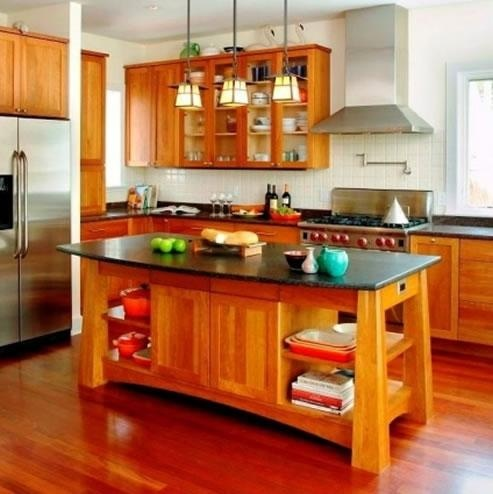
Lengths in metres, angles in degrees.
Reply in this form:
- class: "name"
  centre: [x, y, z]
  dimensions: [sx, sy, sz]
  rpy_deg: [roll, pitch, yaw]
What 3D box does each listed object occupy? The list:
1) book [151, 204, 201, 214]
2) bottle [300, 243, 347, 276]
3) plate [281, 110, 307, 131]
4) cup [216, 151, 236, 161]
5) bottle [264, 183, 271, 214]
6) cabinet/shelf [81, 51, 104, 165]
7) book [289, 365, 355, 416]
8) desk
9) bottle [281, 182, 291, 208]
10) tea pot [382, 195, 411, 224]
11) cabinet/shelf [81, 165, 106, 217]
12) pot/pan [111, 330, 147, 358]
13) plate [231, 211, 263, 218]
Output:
- class: "book"
  centre: [-0.790, -0.437, 5.711]
  dimensions: [0.568, 0.117, 0.692]
  rpy_deg: [1, 4, 10]
- class: "bottle"
  centre: [0.393, 0.079, 2.345]
  dimensions: [0.133, 0.111, 0.213]
  rpy_deg: [-3, 0, -39]
- class: "plate"
  centre: [0.488, -1.226, 4.706]
  dimensions: [0.224, 0.109, 0.205]
  rpy_deg: [-1, 6, -3]
- class: "cup"
  centre: [-0.218, -0.977, 5.205]
  dimensions: [0.161, 0.051, 0.107]
  rpy_deg: [3, 6, 21]
- class: "bottle"
  centre: [0.232, -0.514, 5.252]
  dimensions: [0.073, 0.334, 0.166]
  rpy_deg: [0, 4, 2]
- class: "cabinet/shelf"
  centre: [-1.583, -1.440, 5.020]
  dimensions: [0.132, 1.134, 0.300]
  rpy_deg: [2, 5, 27]
- class: "book"
  centre: [0.387, 0.720, 2.414]
  dimensions: [0.212, 0.093, 0.210]
  rpy_deg: [2, 4, 40]
- class: "desk"
  centre: [-0.086, 0.460, 2.945]
  dimensions: [2.166, 0.982, 1.114]
  rpy_deg: [3, 5, 35]
- class: "bottle"
  centre: [0.422, -0.541, 5.148]
  dimensions: [0.119, 0.257, 0.245]
  rpy_deg: [1, 4, 9]
- class: "tea pot"
  centre: [1.288, -0.313, 4.204]
  dimensions: [0.260, 0.246, 0.266]
  rpy_deg: [-2, 4, 0]
- class: "cabinet/shelf"
  centre: [-1.612, -0.597, 5.122]
  dimensions: [0.142, 0.536, 0.339]
  rpy_deg: [2, 5, 21]
- class: "pot/pan"
  centre: [-0.773, 0.651, 3.211]
  dimensions: [0.182, 0.107, 0.176]
  rpy_deg: [1, -3, 30]
- class: "plate"
  centre: [0.018, -0.357, 5.208]
  dimensions: [0.343, 0.087, 0.400]
  rpy_deg: [0, 4, 0]
